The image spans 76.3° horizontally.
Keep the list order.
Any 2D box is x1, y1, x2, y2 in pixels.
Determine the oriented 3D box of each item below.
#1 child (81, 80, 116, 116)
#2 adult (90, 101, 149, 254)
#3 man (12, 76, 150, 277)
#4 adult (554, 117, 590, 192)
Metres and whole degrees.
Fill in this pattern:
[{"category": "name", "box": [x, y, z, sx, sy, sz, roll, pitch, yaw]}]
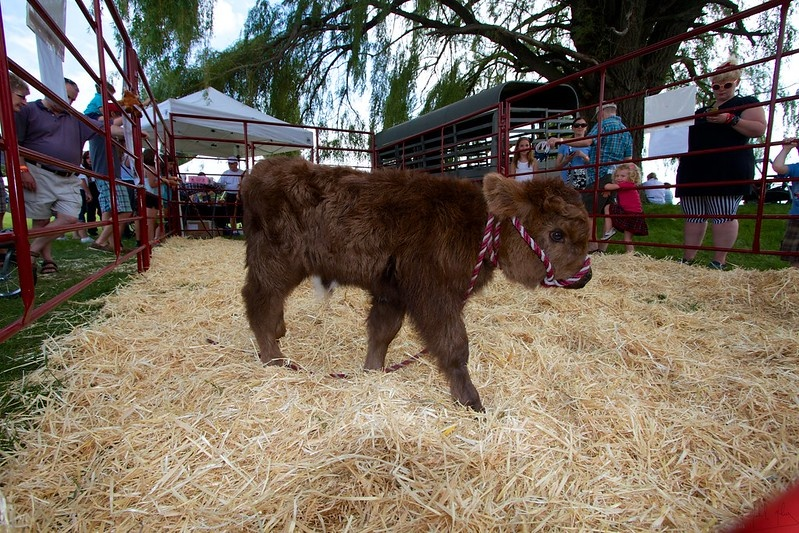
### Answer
[{"category": "child", "box": [-3.800, -2.068, 6.514, 0.320, 0.529, 0.394, 9, 6, -34]}, {"category": "adult", "box": [-3.847, -1.251, 6.927, 0.599, 2.083, 0.589, -7, 1, -29]}, {"category": "man", "box": [-3.652, -0.970, 5.658, 0.449, 2.143, 1.109, 12, 6, 40]}, {"category": "adult", "box": [2.589, -1.408, 7.481, 0.422, 1.467, 0.367, 0, 16, 7]}]
